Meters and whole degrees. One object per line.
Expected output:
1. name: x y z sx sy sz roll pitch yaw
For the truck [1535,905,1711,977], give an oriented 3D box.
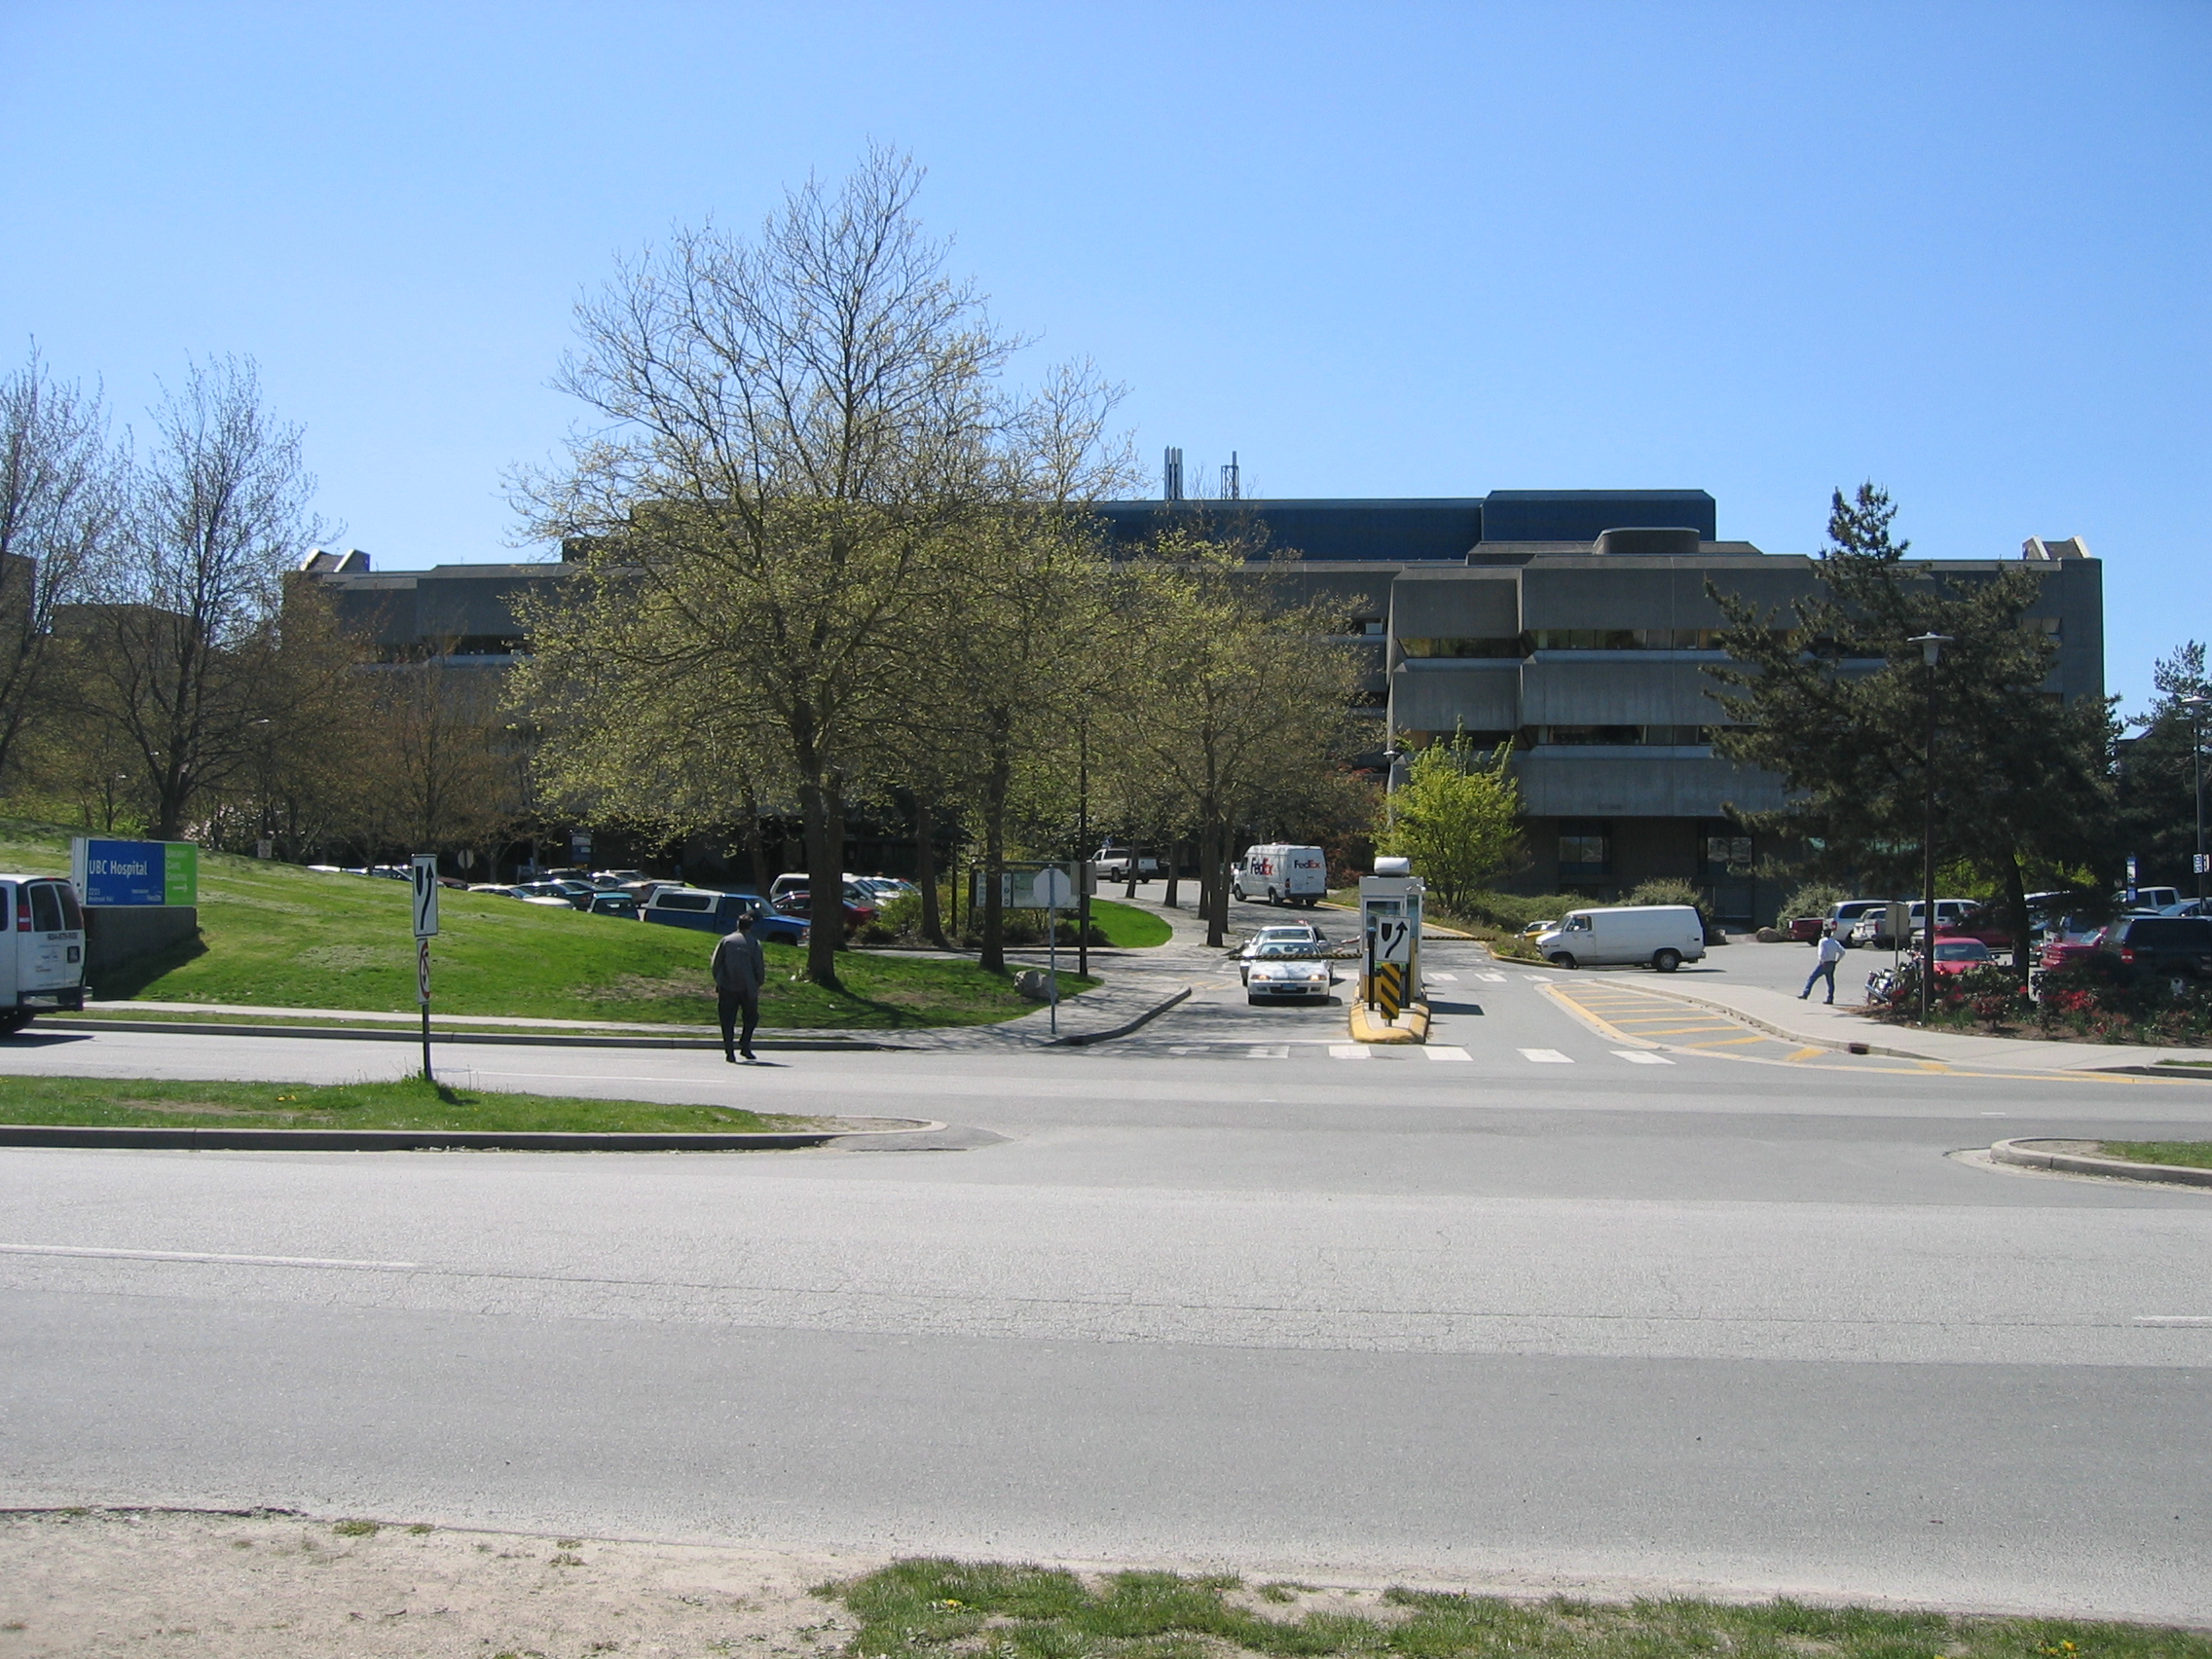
1. truck: 12.518 2.710 77.332 3.198 1.393 1.661 1 -2 3
